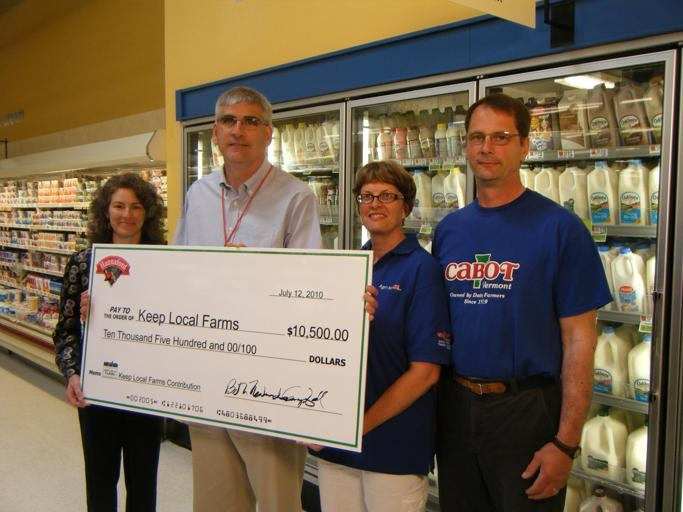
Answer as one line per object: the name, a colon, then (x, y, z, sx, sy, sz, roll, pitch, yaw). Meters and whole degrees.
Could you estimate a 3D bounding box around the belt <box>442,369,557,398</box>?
belt: (0.754, 0.582, 2.712, 0.453, 0.089, 0.067, -1, 2, 12)

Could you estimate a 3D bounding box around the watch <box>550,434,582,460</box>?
watch: (0.979, 0.841, 2.613, 0.108, 0.066, 0.084, 31, 3, 7)
